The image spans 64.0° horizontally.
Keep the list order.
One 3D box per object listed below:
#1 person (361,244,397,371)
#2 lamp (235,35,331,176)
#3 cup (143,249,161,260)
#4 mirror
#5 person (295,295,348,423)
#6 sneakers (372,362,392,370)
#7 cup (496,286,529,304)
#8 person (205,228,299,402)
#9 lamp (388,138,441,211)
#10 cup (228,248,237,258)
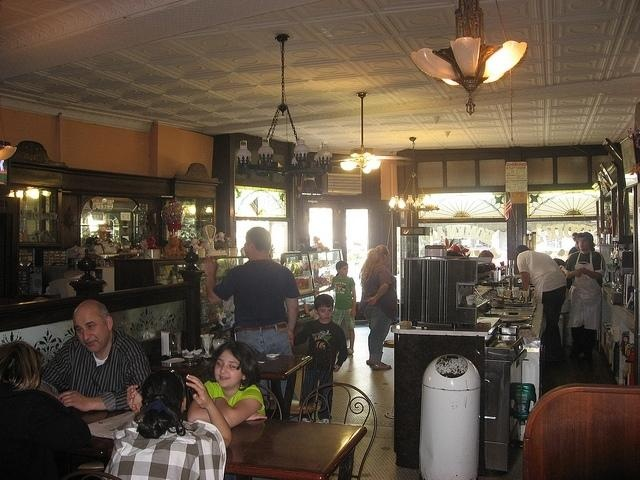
[{"bbox_3d":[0.921,1.037,7.791,0.486,1.865,0.751,1,-1,-5],"label":"person"},{"bbox_3d":[-0.513,-1.597,7.180,1.499,2.105,1.532,0,-4,2],"label":"lamp"},{"bbox_3d":[-2.180,0.188,6.691,0.139,0.092,0.146,-1,1,0],"label":"cup"},{"bbox_3d":[-3.491,-0.245,8.414,0.072,0.914,0.920,3,5,37],"label":"mirror"},{"bbox_3d":[-0.025,1.157,5.032,0.547,1.220,0.347,2,7,-6],"label":"person"},{"bbox_3d":[0.917,1.918,7.755,0.343,0.106,0.225,0,0,5],"label":"sneakers"},{"bbox_3d":[2.608,0.775,6.933,0.248,0.136,0.319,1,1,35],"label":"cup"},{"bbox_3d":[-0.669,0.855,5.136,0.843,2.028,0.540,-1,18,-7],"label":"person"},{"bbox_3d":[2.179,-1.429,12.057,1.451,2.242,1.436,0,-4,6],"label":"lamp"},{"bbox_3d":[-1.343,0.198,7.776,0.126,0.132,0.131,3,3,0],"label":"cup"}]
